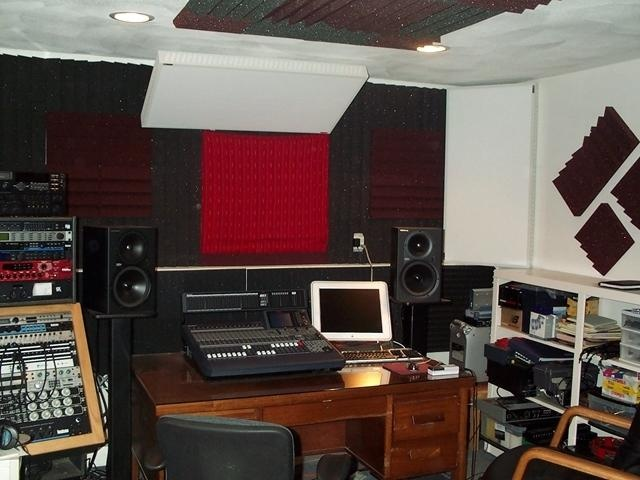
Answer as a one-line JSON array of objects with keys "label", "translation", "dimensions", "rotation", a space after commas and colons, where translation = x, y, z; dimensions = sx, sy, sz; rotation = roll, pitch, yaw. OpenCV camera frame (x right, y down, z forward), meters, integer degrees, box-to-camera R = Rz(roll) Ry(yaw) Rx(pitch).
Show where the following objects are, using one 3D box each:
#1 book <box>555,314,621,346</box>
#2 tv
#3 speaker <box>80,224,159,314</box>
[{"label": "book", "translation": [1.740, 0.538, 3.137], "dimensions": [0.244, 0.080, 0.232], "rotation": [-1, 2, -21]}, {"label": "tv", "translation": [0.184, 0.465, 3.179], "dimensions": [0.394, 0.283, 0.029], "rotation": [0, -8, -11]}, {"label": "speaker", "translation": [-1.138, 0.169, 2.695], "dimensions": [0.499, 0.475, 0.270], "rotation": [-1, 4, 30]}]
